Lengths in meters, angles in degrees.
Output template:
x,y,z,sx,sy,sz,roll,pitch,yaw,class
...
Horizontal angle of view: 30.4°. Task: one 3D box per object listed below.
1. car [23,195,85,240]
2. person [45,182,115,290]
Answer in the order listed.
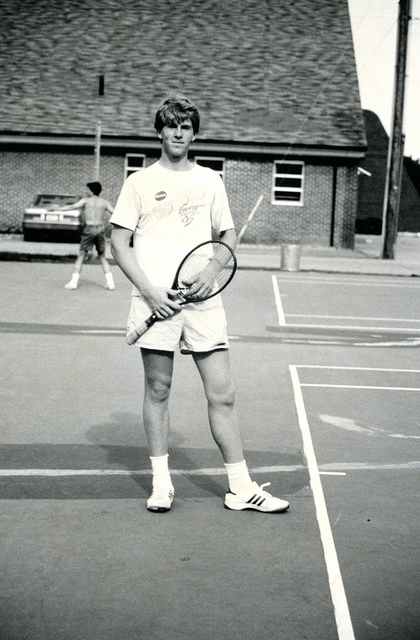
x,y,z,sx,sy,sz,roll,pitch,yaw,class
-5.208,-2.992,25.849,1.761,1.411,3.394,-1,15,-3,car
-2.376,-1.690,15.393,0.966,2.159,1.587,0,5,-11,person
